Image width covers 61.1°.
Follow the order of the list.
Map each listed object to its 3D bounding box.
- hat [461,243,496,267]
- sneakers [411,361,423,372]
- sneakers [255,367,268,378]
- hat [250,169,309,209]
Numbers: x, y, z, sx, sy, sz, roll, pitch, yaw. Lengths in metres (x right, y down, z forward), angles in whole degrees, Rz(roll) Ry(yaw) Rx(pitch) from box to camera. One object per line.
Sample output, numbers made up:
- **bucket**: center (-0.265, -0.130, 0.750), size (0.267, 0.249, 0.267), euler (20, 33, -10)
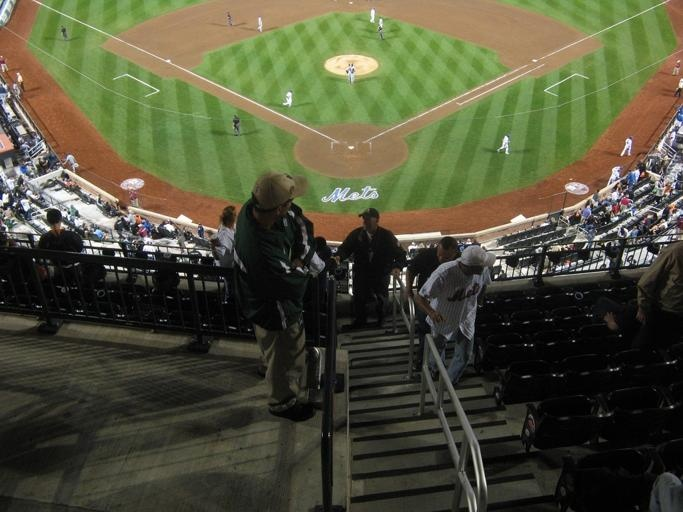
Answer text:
- **hat**: center (1.802, 0.002, 7.490), size (0.468, 0.214, 0.307), euler (-20, 35, -29)
- **sneakers**: center (1.117, 1.627, 8.654), size (0.191, 0.160, 0.184), euler (0, 23, 0)
- **sneakers**: center (-0.994, 1.445, 7.217), size (0.141, 0.156, 0.178), euler (6, 24, -1)
- **hat**: center (-0.646, -0.690, 6.055), size (0.362, 0.405, 0.602), euler (-1, 4, 25)
